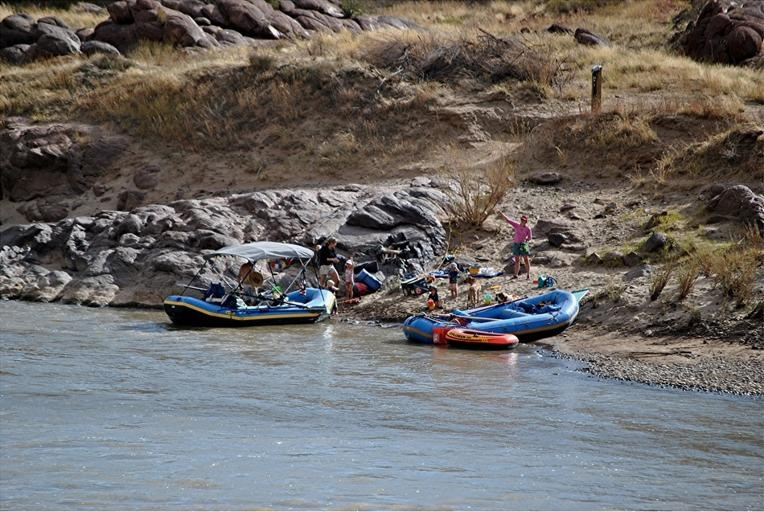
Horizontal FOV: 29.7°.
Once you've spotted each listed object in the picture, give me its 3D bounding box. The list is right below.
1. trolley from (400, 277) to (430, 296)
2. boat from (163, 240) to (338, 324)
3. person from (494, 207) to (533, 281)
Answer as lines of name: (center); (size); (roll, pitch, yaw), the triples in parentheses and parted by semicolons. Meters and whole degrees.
trolley: (1.120, 1.062, 50.637); (0.689, 0.380, 0.899); (-6, 7, -44)
boat: (-4.498, 0.939, 49.810); (5.680, 2.722, 2.547); (-4, 19, -23)
person: (4.766, -0.333, 50.231); (1.264, 2.090, 0.883); (0, 1, -13)
